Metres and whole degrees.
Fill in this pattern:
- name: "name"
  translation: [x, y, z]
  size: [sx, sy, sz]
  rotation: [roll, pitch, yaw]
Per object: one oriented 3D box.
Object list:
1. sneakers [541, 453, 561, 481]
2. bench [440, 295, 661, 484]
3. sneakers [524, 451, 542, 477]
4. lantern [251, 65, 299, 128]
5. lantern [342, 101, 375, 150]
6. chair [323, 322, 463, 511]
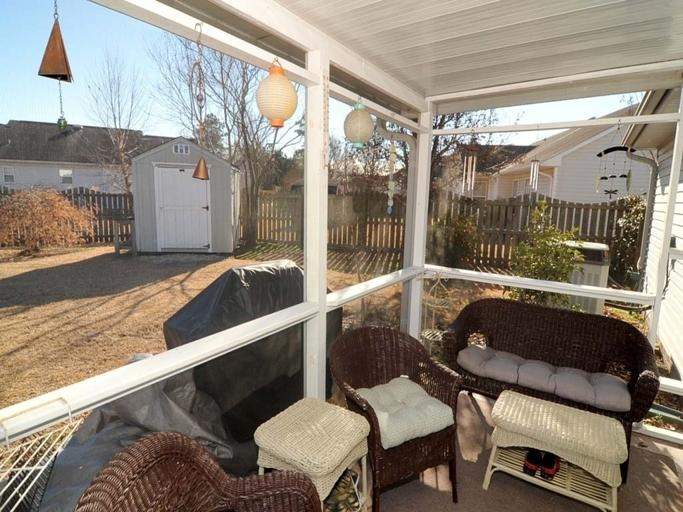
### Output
- name: "sneakers"
  translation: [1.359, 1.398, 2.884]
  size: [0.068, 0.094, 0.220]
  rotation: [-1, -5, 24]
- name: "bench"
  translation: [1.660, 1.054, 3.640]
  size: [1.522, 1.166, 0.825]
  rotation: [10, 8, 37]
- name: "sneakers"
  translation: [1.269, 1.376, 2.917]
  size: [0.085, 0.052, 0.151]
  rotation: [10, 49, 23]
- name: "lantern"
  translation: [-0.381, -0.854, 2.439]
  size: [0.254, 0.419, 0.269]
  rotation: [-4, 12, -14]
- name: "lantern"
  translation: [0.109, -0.869, 2.937]
  size: [0.247, 0.344, 0.260]
  rotation: [-4, 14, -14]
- name: "chair"
  translation: [0.383, 1.126, 3.289]
  size: [1.017, 1.461, 1.010]
  rotation: [-4, 6, -25]
